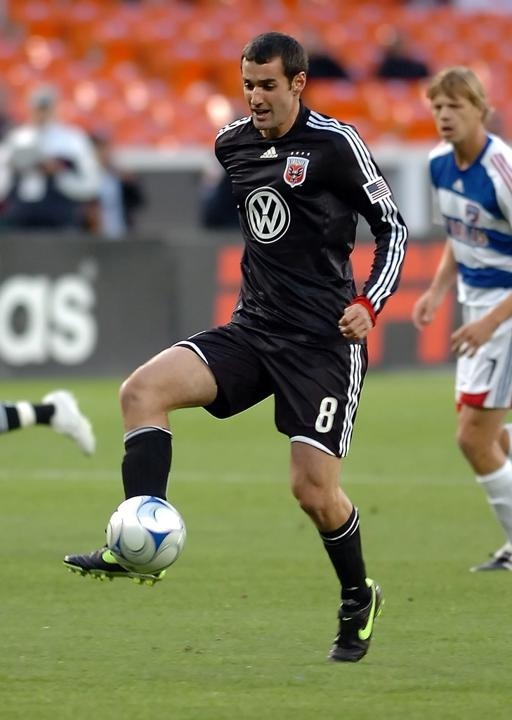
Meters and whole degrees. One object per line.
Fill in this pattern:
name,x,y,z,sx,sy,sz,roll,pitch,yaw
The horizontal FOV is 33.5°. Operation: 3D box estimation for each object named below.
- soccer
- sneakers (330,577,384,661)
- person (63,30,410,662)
soccer,-0.285,0.464,2.145,0.156,0.210,0.155,7,9,26
sneakers,0.279,0.752,2.452,0.089,0.244,0.104,1,-39,35
person,0.034,0.024,2.451,0.727,1.547,0.640,4,8,7
